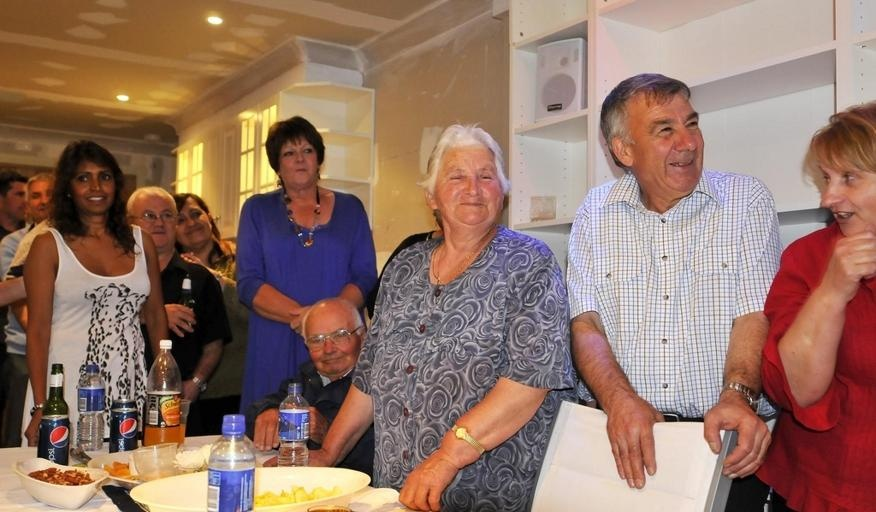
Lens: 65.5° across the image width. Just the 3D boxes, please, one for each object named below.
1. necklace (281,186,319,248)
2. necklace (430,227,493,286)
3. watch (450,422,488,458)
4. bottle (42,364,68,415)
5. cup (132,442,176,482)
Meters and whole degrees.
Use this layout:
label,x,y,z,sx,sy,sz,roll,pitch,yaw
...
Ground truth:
label,x,y,z,sx,sy,sz,roll,pitch,yaw
necklace,-0.753,-0.213,3.691,0.189,0.304,0.070,-4,-27,-15
necklace,0.119,0.009,2.671,0.137,0.254,0.183,20,9,-39
watch,0.107,0.637,2.388,0.108,0.052,0.090,38,-3,2
bottle,-1.566,0.538,2.762,0.084,0.200,0.172,0,-6,-30
cup,-1.035,0.743,2.469,0.132,0.105,0.146,-2,-12,-32
